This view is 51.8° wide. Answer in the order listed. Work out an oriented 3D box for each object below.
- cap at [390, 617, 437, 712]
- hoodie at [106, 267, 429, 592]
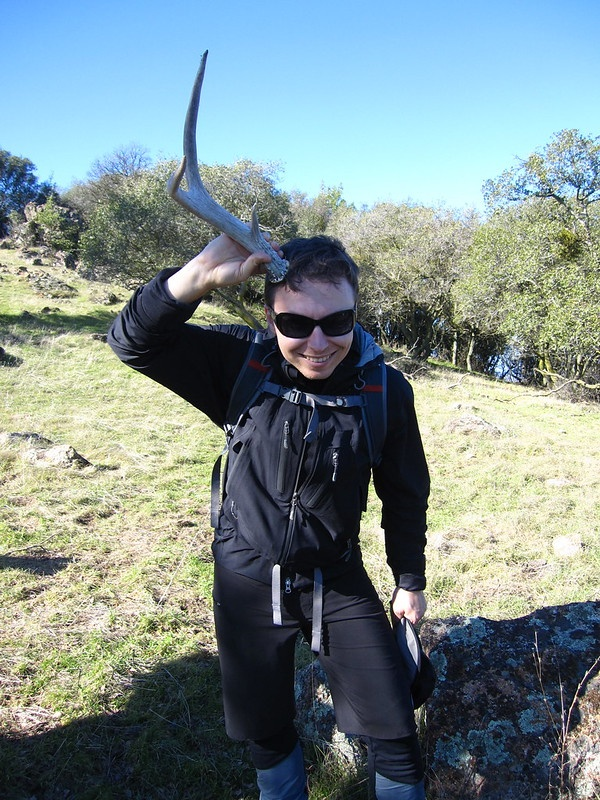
[{"bbox_3d":[0.445,1.018,2.418,0.090,0.324,0.233,-6,0,-23],"label":"cap"},{"bbox_3d":[-0.064,0.162,2.363,1.229,1.264,0.537,-2,15,-17],"label":"hoodie"}]
